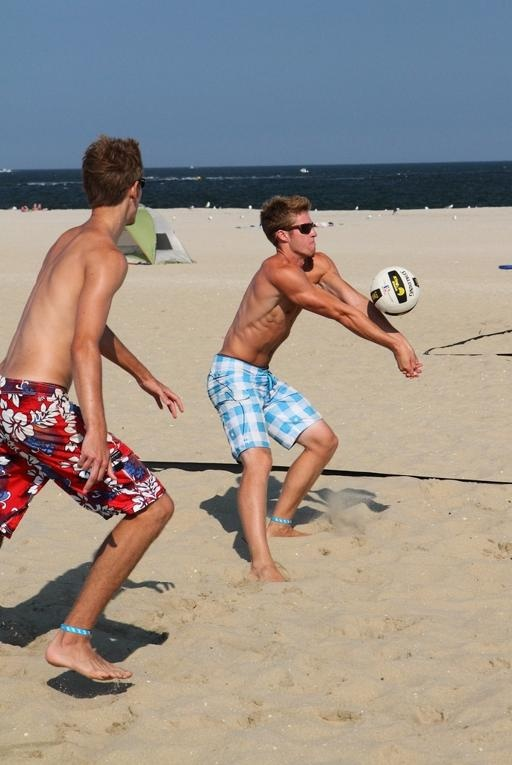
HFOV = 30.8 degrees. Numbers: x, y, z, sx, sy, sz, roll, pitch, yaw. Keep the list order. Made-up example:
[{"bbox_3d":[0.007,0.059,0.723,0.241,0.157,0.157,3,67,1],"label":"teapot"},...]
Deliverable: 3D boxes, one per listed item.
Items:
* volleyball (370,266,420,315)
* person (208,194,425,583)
[{"bbox_3d":[0.732,-0.486,5.032,0.290,0.280,0.273,-11,-18,18],"label":"volleyball"},{"bbox_3d":[0.254,-0.030,4.653,0.997,1.799,1.325,-2,12,2],"label":"person"}]
